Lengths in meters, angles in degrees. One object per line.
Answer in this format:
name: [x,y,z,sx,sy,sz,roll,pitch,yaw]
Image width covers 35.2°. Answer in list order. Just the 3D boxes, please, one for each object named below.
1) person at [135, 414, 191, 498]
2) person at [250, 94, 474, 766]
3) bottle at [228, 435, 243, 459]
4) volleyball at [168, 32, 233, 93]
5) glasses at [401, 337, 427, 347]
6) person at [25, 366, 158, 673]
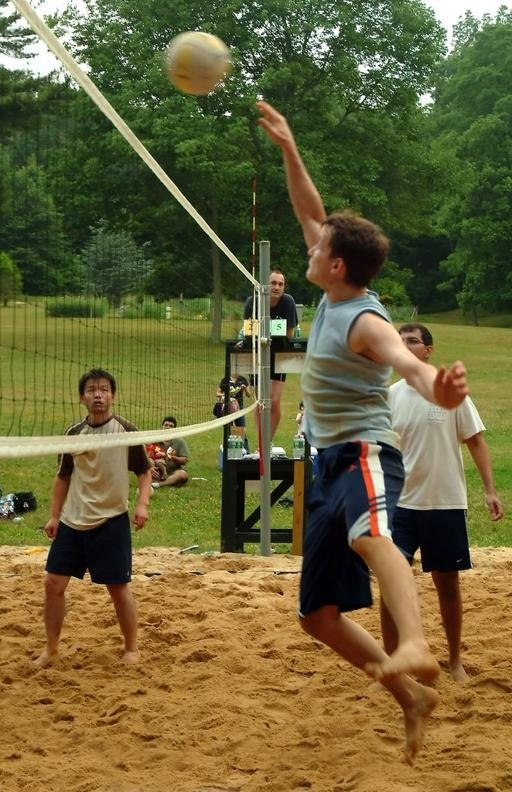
person: [-1.092,0.661,9.843,0.609,0.812,0.509,2,2,24]
person: [0.305,0.047,2.438,0.784,1.366,0.486,0,0,6]
bottle: [-0.173,0.415,6.489,0.123,0.175,0.197,-1,3,-3]
volleyball: [-0.255,-1.565,3.899,0.226,0.321,0.371,1,2,35]
glasses: [0.733,-0.249,3.755,0.066,0.020,0.062,25,-14,-37]
person: [-0.780,0.582,3.819,0.563,1.406,0.504,-2,3,-8]
